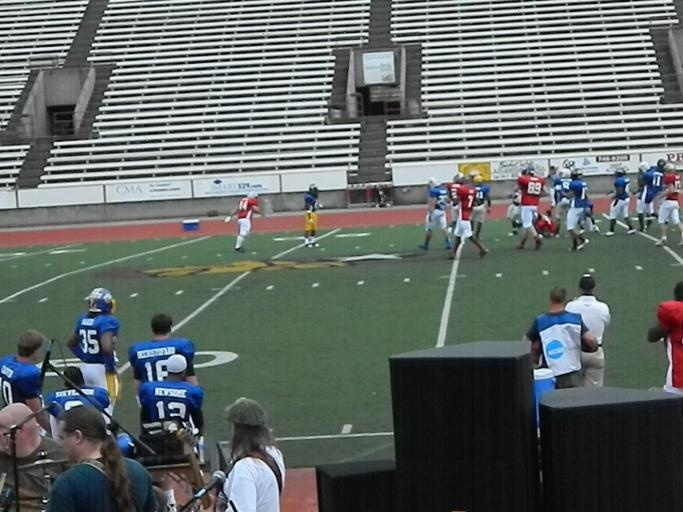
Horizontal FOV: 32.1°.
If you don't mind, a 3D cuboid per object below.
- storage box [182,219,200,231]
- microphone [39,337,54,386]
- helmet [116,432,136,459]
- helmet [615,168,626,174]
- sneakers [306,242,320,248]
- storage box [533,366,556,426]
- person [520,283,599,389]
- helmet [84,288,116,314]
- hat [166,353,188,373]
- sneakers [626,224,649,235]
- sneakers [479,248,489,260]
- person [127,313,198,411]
[{"bbox_3d":[-3.082,-0.679,24.561,0.333,0.320,0.902,-1,-3,-8],"label":"storage box"},{"bbox_3d":[-3.286,1.182,13.247,0.100,0.690,0.087,14,22,-6],"label":"microphone"},{"bbox_3d":[-2.201,1.924,12.143,0.231,0.275,0.188,2,0,-34],"label":"helmet"},{"bbox_3d":[4.310,-1.340,18.287,0.123,0.126,0.102,7,5,13],"label":"helmet"},{"bbox_3d":[-0.472,-0.197,19.797,0.085,0.126,0.280,-3,-5,-32],"label":"sneakers"},{"bbox_3d":[2.043,1.468,12.324,0.383,0.629,0.414,1,-1,4],"label":"storage box"},{"bbox_3d":[2.395,1.186,12.808,0.727,1.818,0.558,-1,14,21],"label":"person"},{"bbox_3d":[-2.716,0.495,13.493,0.233,0.307,0.319,5,10,23],"label":"helmet"},{"bbox_3d":[-1.751,1.137,12.597,0.220,0.200,0.142,-2,-3,4],"label":"hat"},{"bbox_3d":[4.244,-0.409,16.983,0.298,0.143,0.097,-15,16,-33],"label":"sneakers"},{"bbox_3d":[1.848,-0.060,15.357,0.091,0.124,0.120,2,-5,9],"label":"sneakers"},{"bbox_3d":[-1.945,1.471,13.116,0.646,1.677,0.471,-2,10,4],"label":"person"}]
